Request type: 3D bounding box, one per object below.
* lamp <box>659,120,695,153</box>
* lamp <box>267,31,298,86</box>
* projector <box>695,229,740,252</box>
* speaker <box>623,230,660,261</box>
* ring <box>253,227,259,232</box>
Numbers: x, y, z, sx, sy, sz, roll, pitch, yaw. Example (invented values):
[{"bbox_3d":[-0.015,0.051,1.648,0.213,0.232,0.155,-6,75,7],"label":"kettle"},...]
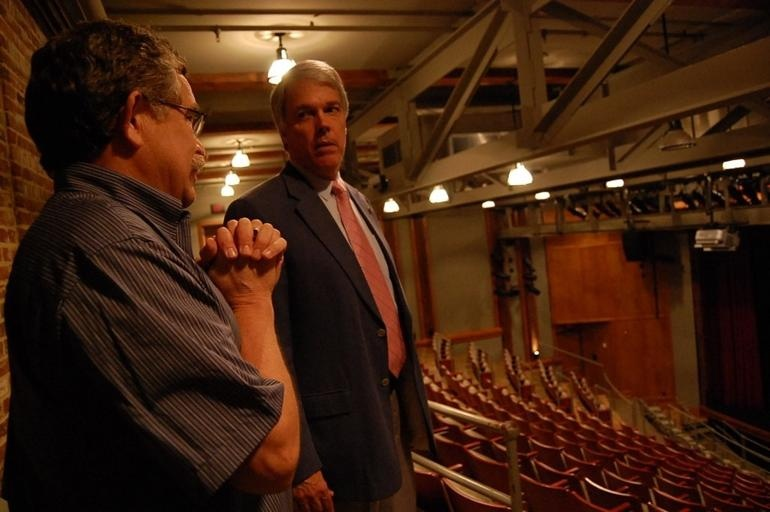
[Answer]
[{"bbox_3d":[2.947,-1.241,6.298,0.341,0.325,0.526,-5,-1,27],"label":"lamp"},{"bbox_3d":[-1.063,-2.045,6.415,0.291,0.488,0.300,-4,4,-11],"label":"lamp"},{"bbox_3d":[4.981,-0.256,9.363,0.422,0.359,0.500,-4,-1,-25],"label":"projector"},{"bbox_3d":[5.582,-0.223,13.568,0.464,0.646,0.640,-2,-1,35],"label":"speaker"},{"bbox_3d":[-0.441,-0.089,2.141,0.016,0.018,0.004,-27,-21,3],"label":"ring"}]
